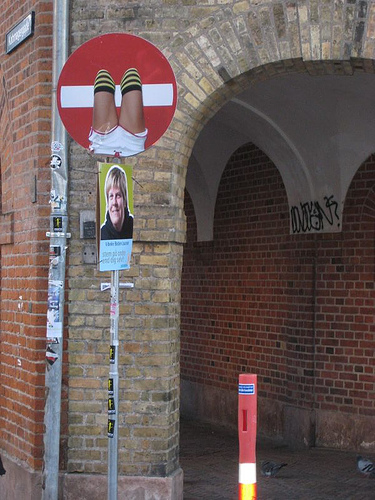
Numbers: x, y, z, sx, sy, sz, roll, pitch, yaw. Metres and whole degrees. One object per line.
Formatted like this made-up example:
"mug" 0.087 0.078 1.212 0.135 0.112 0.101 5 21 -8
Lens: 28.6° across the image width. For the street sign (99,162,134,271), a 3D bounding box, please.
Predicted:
"street sign" -0.427 -0.205 4.493 0.217 0.676 0.062 -1 1 13
